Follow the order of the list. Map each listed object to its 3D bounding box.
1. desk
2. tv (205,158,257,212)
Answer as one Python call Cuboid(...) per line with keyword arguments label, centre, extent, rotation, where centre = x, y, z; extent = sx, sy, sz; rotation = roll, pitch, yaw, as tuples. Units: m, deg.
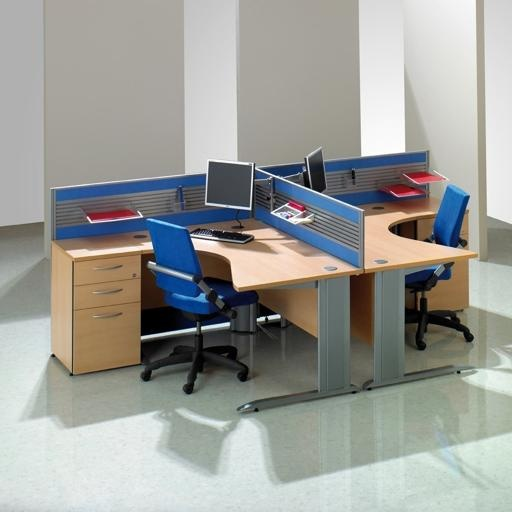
Cuboid(label="desk", centre=(0.316, -0.025, 3.639), extent=(3.451, 1.534, 1.785), rotation=(-4, 9, -17))
Cuboid(label="tv", centre=(-0.196, -0.523, 3.825), extent=(0.484, 0.346, 0.043), rotation=(9, 18, 23))
